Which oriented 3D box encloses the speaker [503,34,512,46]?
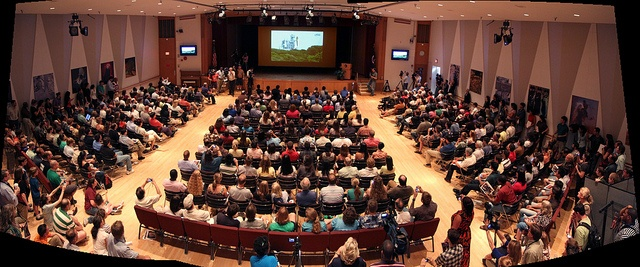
[{"bbox_3d":[11.900,-5.928,22.316,0.410,1.109,0.401,17,-59,25],"label":"speaker"}]

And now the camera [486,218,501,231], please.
[{"bbox_3d":[7.238,3.867,14.746,0.421,0.405,0.604,-18,-39,25],"label":"camera"}]

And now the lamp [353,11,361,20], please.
[{"bbox_3d":[2.817,-9.019,26.815,0.680,0.777,0.389,1,-9,0],"label":"lamp"}]

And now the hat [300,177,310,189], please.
[{"bbox_3d":[-0.649,2.313,15.874,0.553,0.465,0.676,3,-42,-3],"label":"hat"}]

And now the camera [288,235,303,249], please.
[{"bbox_3d":[-1.024,4.560,14.665,0.629,0.522,0.212,-9,1,13],"label":"camera"}]

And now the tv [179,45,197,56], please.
[{"bbox_3d":[-11.867,-7.472,31.644,1.232,0.700,0.117,1,10,-10],"label":"tv"}]

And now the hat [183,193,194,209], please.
[{"bbox_3d":[-5.722,3.016,15.368,0.485,0.568,0.227,-9,-18,9],"label":"hat"}]
